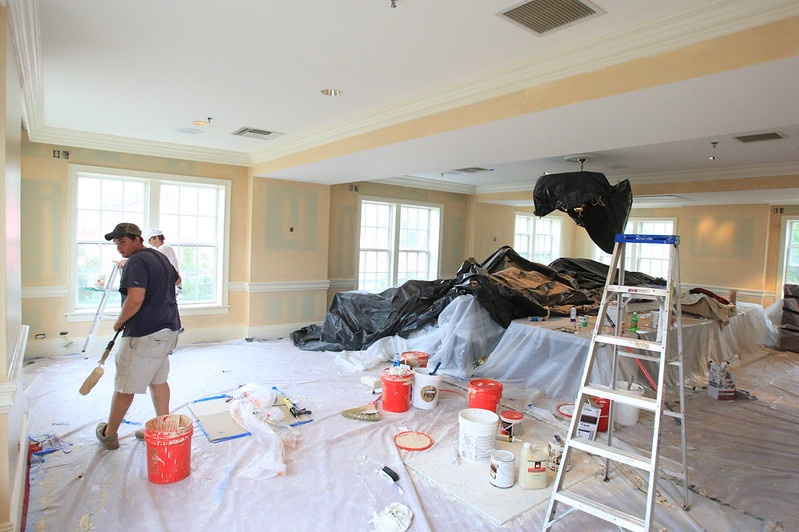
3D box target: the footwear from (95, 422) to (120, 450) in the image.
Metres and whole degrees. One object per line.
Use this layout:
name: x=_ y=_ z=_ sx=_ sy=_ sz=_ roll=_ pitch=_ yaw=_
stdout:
footwear: x=-2.614 y=1.517 z=4.475 sx=0.123 sy=0.118 sz=0.310 roll=1 pitch=7 yaw=-33

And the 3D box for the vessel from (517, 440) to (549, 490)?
vessel: x=1.101 y=1.634 z=4.109 sx=0.270 sy=0.337 sz=0.205 roll=3 pitch=-4 yaw=-5

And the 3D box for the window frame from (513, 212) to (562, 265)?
window frame: x=3.101 y=-0.658 z=11.315 sx=1.426 sy=1.257 sz=0.114 roll=2 pitch=1 yaw=-35

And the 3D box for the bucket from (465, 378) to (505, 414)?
bucket: x=0.877 y=1.270 z=4.955 sx=0.343 sy=0.325 sz=0.341 roll=2 pitch=0 yaw=0

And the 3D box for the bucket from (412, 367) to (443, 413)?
bucket: x=0.280 y=1.329 z=5.294 sx=0.332 sy=0.322 sz=0.392 roll=1 pitch=0 yaw=-13

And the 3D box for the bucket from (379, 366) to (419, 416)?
bucket: x=0.031 y=1.311 z=5.276 sx=0.439 sy=0.395 sz=0.418 roll=1 pitch=0 yaw=0

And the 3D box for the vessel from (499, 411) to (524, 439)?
vessel: x=1.033 y=1.489 z=4.822 sx=0.240 sy=0.229 sz=0.234 roll=-6 pitch=12 yaw=-36

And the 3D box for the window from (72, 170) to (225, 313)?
window: x=-3.595 y=-0.345 z=7.222 sx=2.398 sy=1.886 sz=0.223 roll=2 pitch=0 yaw=1

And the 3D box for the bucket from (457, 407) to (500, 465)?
bucket: x=0.701 y=1.512 z=4.454 sx=0.374 sy=0.353 sz=0.353 roll=3 pitch=3 yaw=0

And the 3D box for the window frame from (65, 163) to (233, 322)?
window frame: x=-3.370 y=-0.397 z=6.539 sx=2.627 sy=2.100 sz=0.188 roll=1 pitch=2 yaw=-38

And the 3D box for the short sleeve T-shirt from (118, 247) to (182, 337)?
short sleeve T-shirt: x=-2.181 y=0.229 z=4.397 sx=0.341 sy=0.746 sz=0.503 roll=5 pitch=15 yaw=13

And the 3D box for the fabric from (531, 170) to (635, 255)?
fabric: x=2.358 y=-0.763 z=6.461 sx=1.145 sy=0.812 sz=1.002 roll=4 pitch=1 yaw=-18

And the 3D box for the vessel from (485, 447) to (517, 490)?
vessel: x=0.828 y=1.650 z=4.119 sx=0.264 sy=0.254 sz=0.256 roll=-1 pitch=1 yaw=-13

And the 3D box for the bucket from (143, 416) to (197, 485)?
bucket: x=-1.863 y=1.489 z=4.154 sx=0.501 sy=0.448 sz=0.484 roll=1 pitch=1 yaw=0

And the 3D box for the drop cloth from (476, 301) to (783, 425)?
drop cloth: x=3.489 y=1.106 z=6.683 sx=3.964 sy=0.525 sz=1.618 roll=-1 pitch=4 yaw=-32
